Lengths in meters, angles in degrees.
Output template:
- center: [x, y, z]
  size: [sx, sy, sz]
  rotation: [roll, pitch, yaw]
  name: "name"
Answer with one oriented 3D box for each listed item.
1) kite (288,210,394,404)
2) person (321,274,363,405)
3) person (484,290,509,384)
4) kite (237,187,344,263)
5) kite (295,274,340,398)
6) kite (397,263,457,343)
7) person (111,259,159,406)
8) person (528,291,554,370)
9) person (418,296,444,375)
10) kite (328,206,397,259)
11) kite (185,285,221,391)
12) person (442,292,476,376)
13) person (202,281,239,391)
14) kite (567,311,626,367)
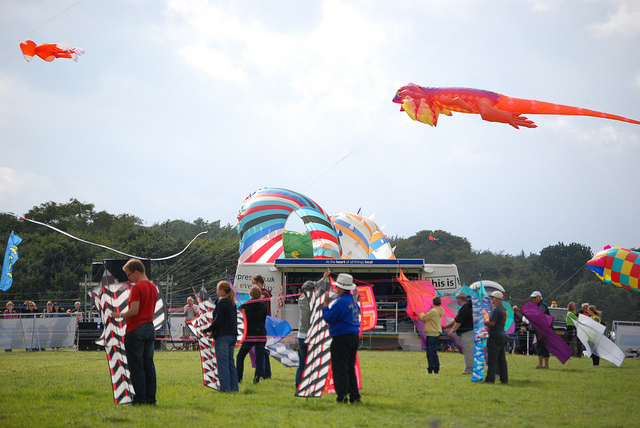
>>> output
- center: [0.587, 2.988, 19.685]
  size: [2.437, 4.577, 2.510]
  rotation: [-16, -38, 26]
  name: "kite"
- center: [0.521, 2.767, 13.722]
  size: [0.709, 2.780, 0.939]
  rotation: [-5, -16, 15]
  name: "person"
- center: [4.662, 3.262, 16.548]
  size: [0.704, 2.422, 1.081]
  rotation: [-5, -16, 16]
  name: "person"
- center: [-1.698, 0.929, 29.736]
  size: [4.993, 2.415, 6.223]
  rotation: [9, 17, -14]
  name: "kite"
- center: [-0.033, 2.839, 14.397]
  size: [1.143, 2.721, 0.457]
  rotation: [-15, -20, 41]
  name: "kite"
- center: [3.365, 3.099, 21.127]
  size: [1.835, 2.073, 0.708]
  rotation: [8, 17, 19]
  name: "kite"
- center: [-3.840, 2.511, 13.223]
  size: [0.844, 3.015, 0.877]
  rotation: [3, -16, -16]
  name: "person"
- center: [6.962, 3.671, 19.647]
  size: [0.756, 2.441, 0.864]
  rotation: [-9, -23, 41]
  name: "person"
- center: [3.261, 3.506, 17.963]
  size: [0.641, 2.209, 0.657]
  rotation: [-4, -15, 10]
  name: "person"
- center: [2.422, 1.285, 33.572]
  size: [2.875, 3.064, 2.835]
  rotation: [32, -46, -32]
  name: "kite"
- center: [-2.699, 3.070, 15.062]
  size: [0.496, 2.335, 1.155]
  rotation: [4, -16, -19]
  name: "kite"
- center: [3.958, 3.311, 17.335]
  size: [0.654, 2.279, 1.275]
  rotation: [-4, -15, 11]
  name: "person"
- center: [-2.238, 2.837, 14.562]
  size: [0.699, 2.500, 0.949]
  rotation: [1, -15, -9]
  name: "person"
- center: [9.139, 4.015, 20.575]
  size: [0.252, 2.037, 0.961]
  rotation: [3, -52, -53]
  name: "kite"
